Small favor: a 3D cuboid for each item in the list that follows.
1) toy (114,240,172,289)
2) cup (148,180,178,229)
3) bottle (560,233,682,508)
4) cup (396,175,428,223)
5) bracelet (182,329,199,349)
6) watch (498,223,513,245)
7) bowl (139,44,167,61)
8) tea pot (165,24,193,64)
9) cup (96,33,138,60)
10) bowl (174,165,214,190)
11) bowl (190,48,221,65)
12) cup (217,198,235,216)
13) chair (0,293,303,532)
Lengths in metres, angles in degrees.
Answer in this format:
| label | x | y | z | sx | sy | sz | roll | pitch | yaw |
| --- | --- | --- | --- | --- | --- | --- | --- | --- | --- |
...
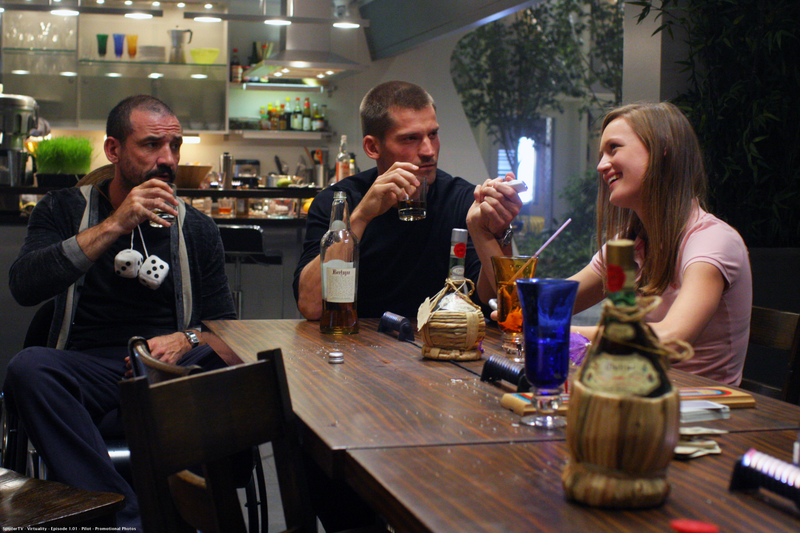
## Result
| label | x | y | z | sx | sy | sz | roll | pitch | yaw |
| --- | --- | --- | --- | --- | --- | --- | --- | --- | --- |
| toy | -0.909 | 0.010 | 2.091 | 0.162 | 0.142 | 0.116 | 3 | 8 | 25 |
| cup | -0.836 | -0.208 | 2.117 | 0.086 | 0.165 | 0.293 | -4 | 8 | -23 |
| bottle | 0.293 | 0.138 | 0.767 | 0.151 | 0.349 | 0.092 | 1 | 8 | 12 |
| cup | 0.051 | -0.222 | 1.915 | 0.109 | 0.163 | 0.104 | 1 | -3 | 0 |
| bracelet | -0.713 | 0.246 | 2.066 | 0.043 | 0.059 | 0.063 | -10 | 58 | -42 |
| watch | 0.357 | -0.103 | 1.923 | 0.057 | 0.055 | 0.055 | -1 | 26 | -34 |
| bowl | -2.516 | -2.178 | 6.109 | 0.278 | 0.179 | 0.169 | -4 | 8 | -23 |
| tea pot | -2.282 | -2.304 | 6.240 | 0.229 | 0.432 | 0.338 | -2 | 8 | -11 |
| cup | -2.850 | -2.215 | 6.054 | 0.296 | 0.155 | 0.100 | 0 | 3 | -9 |
| bowl | -1.677 | -0.734 | 4.909 | 0.274 | 0.141 | 0.276 | 0 | 0 | 0 |
| bowl | -2.039 | -2.164 | 6.194 | 0.332 | 0.151 | 0.124 | 1 | 8 | 12 |
| cup | -1.652 | -0.571 | 5.769 | 0.175 | 0.216 | 0.176 | 0 | 0 | 0 |
| chair | -0.738 | 0.385 | 1.986 | 0.699 | 0.900 | 0.638 | 1 | -2 | -27 |
